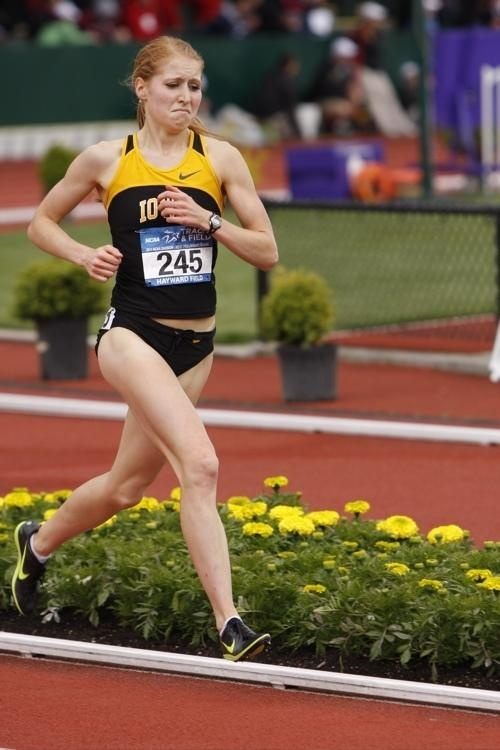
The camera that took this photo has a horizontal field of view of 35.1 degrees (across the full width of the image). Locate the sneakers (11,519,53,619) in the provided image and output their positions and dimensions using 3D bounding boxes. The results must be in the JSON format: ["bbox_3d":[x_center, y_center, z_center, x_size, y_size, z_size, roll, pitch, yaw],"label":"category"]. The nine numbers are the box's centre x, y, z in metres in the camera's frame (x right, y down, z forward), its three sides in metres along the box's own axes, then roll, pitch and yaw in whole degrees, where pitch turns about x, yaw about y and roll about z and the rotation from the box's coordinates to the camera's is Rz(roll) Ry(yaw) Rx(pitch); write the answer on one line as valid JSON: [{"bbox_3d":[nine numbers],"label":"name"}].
[{"bbox_3d":[-0.759,0.659,2.742,0.136,0.321,0.121,-3,-7,24],"label":"sneakers"}]

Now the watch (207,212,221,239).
[{"bbox_3d":[-0.099,-0.419,2.204,0.041,0.055,0.057,4,-6,-30],"label":"watch"}]

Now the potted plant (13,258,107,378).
[{"bbox_3d":[-1.863,-0.562,8.145,1.104,1.125,0.785,-1,0,-1],"label":"potted plant"}]

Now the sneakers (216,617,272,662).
[{"bbox_3d":[-0.022,0.681,2.053,0.068,0.086,0.182,-37,4,-24],"label":"sneakers"}]
